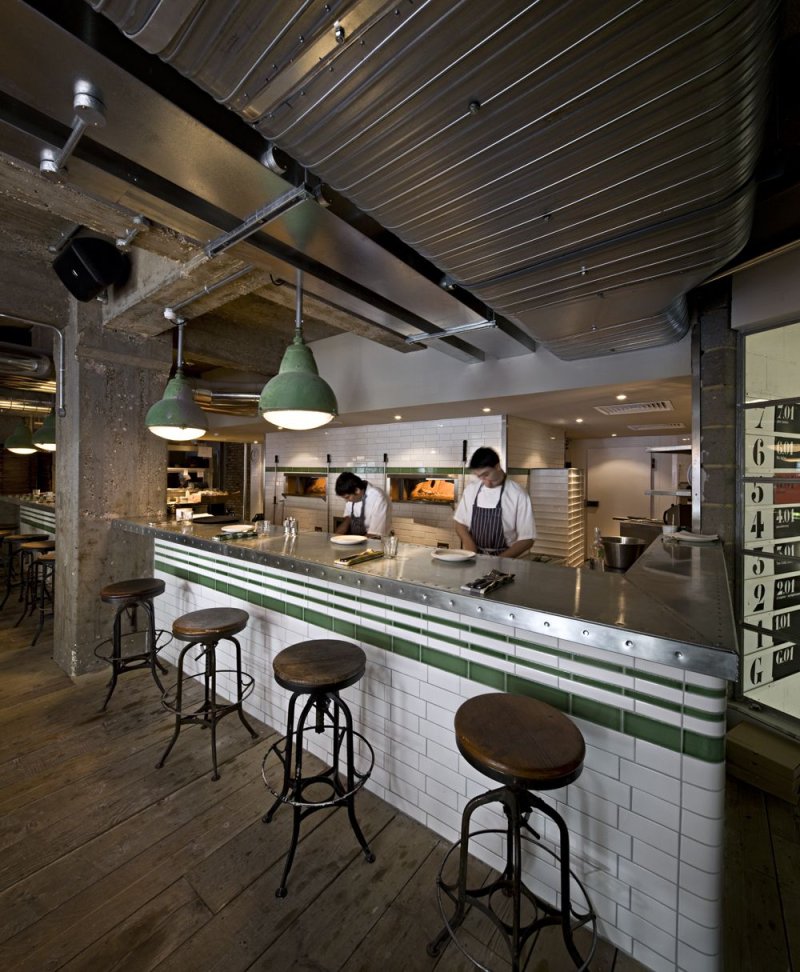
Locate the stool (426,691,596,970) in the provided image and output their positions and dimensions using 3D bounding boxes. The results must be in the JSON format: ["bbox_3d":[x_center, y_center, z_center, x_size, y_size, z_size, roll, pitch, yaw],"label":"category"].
[{"bbox_3d":[0.430,1.284,2.662,0.603,0.900,0.707,3,14,9],"label":"stool"}]

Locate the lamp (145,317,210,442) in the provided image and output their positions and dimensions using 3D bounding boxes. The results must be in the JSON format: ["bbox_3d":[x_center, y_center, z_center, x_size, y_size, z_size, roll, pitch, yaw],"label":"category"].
[{"bbox_3d":[-1.614,-0.666,5.143,0.365,0.976,1.915,-4,14,-17],"label":"lamp"}]

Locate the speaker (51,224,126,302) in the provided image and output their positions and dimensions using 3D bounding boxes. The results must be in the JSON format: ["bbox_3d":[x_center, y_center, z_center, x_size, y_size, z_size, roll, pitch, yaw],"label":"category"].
[{"bbox_3d":[-1.823,-1.315,4.282,0.422,0.294,0.223,8,52,50],"label":"speaker"}]

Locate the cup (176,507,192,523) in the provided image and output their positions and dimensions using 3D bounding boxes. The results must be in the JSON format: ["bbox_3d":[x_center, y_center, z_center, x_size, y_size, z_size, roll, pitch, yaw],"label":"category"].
[{"bbox_3d":[-1.720,0.237,5.793,0.190,0.094,0.191,9,2,0],"label":"cup"}]

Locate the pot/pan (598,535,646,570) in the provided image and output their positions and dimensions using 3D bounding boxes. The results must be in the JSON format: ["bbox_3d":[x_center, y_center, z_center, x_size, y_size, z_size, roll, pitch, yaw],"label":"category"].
[{"bbox_3d":[1.509,0.470,5.132,0.332,0.229,0.353,-7,-12,44],"label":"pot/pan"}]
